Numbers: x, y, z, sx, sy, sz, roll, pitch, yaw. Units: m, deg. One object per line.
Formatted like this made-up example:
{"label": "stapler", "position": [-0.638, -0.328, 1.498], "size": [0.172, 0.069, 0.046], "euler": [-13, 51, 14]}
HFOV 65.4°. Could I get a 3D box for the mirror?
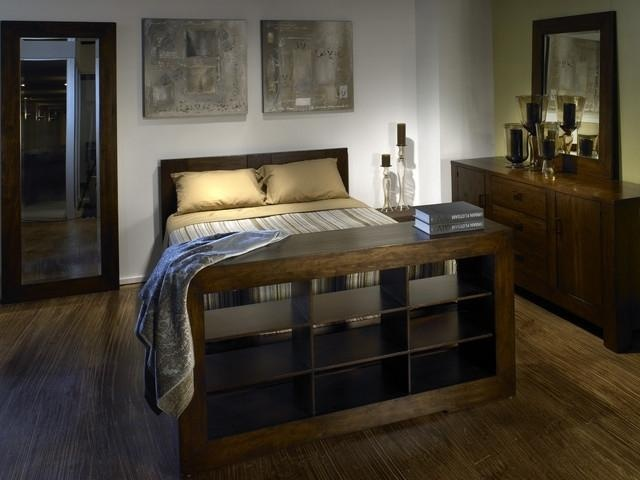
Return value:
{"label": "mirror", "position": [2.119, -1.213, 4.160], "size": [0.128, 1.330, 0.884], "euler": [-6, 11, -18]}
